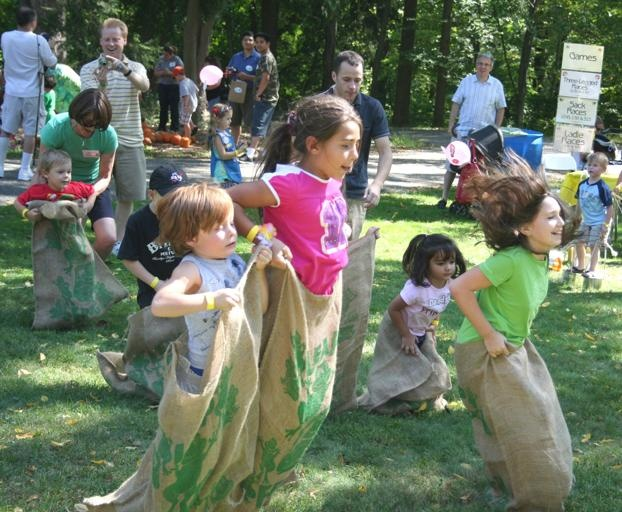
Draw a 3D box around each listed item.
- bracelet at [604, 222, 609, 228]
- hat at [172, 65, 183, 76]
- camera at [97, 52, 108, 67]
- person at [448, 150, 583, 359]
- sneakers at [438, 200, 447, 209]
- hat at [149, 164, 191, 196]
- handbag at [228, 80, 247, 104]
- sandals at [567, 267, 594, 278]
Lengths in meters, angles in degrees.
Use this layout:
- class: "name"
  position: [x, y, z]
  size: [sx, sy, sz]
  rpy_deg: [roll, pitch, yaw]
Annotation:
- class: "bracelet"
  position: [3.670, -0.371, 9.748]
  size: [0.054, 0.045, 0.018]
  rpy_deg: [-4, -19, -4]
- class: "hat"
  position: [-3.113, -4.299, 18.324]
  size: [0.249, 0.209, 0.425]
  rpy_deg: [-2, 28, -23]
- class: "camera"
  position: [-2.203, -2.046, 8.275]
  size: [0.112, 0.150, 0.123]
  rpy_deg: [-1, -6, -2]
- class: "person"
  position: [1.218, -0.035, 5.195]
  size: [0.919, 1.562, 1.004]
  rpy_deg: [-8, -3, 23]
- class: "sneakers"
  position: [2.135, -0.831, 12.801]
  size: [0.111, 0.150, 0.306]
  rpy_deg: [-1, 3, 9]
- class: "hat"
  position: [-1.017, -0.536, 5.624]
  size: [0.267, 0.223, 0.502]
  rpy_deg: [3, 6, -10]
- class: "handbag"
  position: [-1.407, -3.194, 15.450]
  size: [0.298, 0.483, 0.134]
  rpy_deg: [6, 6, 9]
- class: "sandals"
  position: [3.310, 0.202, 9.615]
  size: [0.273, 0.119, 0.116]
  rpy_deg: [6, 6, 35]
